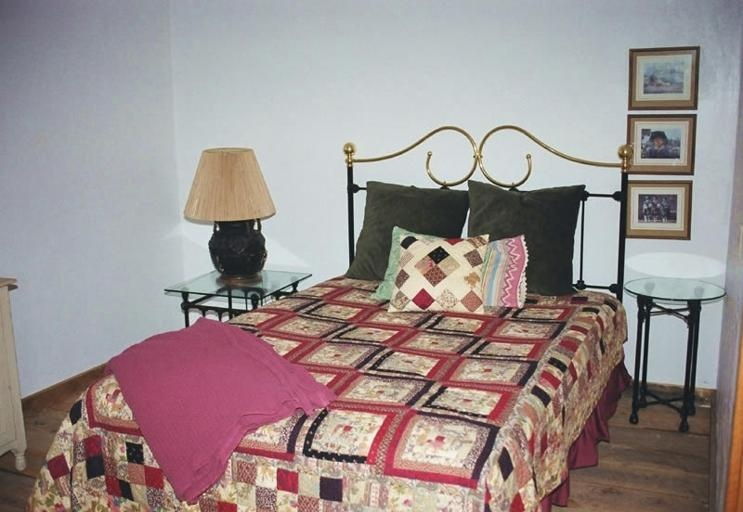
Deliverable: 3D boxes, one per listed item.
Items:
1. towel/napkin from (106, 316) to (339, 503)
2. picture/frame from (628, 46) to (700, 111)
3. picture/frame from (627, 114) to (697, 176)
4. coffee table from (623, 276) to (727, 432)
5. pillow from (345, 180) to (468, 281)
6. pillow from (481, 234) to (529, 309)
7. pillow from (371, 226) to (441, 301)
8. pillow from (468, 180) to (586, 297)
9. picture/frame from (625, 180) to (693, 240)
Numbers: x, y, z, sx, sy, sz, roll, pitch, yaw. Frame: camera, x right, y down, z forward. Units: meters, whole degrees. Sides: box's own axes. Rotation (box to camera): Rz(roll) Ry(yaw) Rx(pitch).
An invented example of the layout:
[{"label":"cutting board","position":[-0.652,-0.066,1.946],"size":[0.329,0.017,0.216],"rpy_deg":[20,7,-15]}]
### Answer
[{"label":"towel/napkin","position":[-0.580,0.557,2.481],"size":[0.703,0.218,0.689],"rpy_deg":[-22,44,-27]},{"label":"picture/frame","position":[1.686,-1.020,3.534],"size":[0.360,0.342,0.028],"rpy_deg":[4,14,17]},{"label":"picture/frame","position":[1.694,-0.650,3.584],"size":[0.341,0.335,0.024],"rpy_deg":[4,10,16]},{"label":"coffee table","position":[1.708,0.539,3.536],"size":[0.497,0.788,0.541],"rpy_deg":[5,10,31]},{"label":"pillow","position":[0.192,-0.122,3.699],"size":[0.636,0.600,0.197],"rpy_deg":[3,-11,37]},{"label":"pillow","position":[0.721,0.087,3.353],"size":[0.353,0.327,0.105],"rpy_deg":[-11,-24,30]},{"label":"pillow","position":[0.157,0.057,3.493],"size":[0.122,0.394,0.404],"rpy_deg":[16,-7,-22]},{"label":"pillow","position":[0.859,-0.085,3.472],"size":[0.655,0.624,0.231],"rpy_deg":[0,-9,16]},{"label":"picture/frame","position":[1.706,-0.274,3.641],"size":[0.333,0.338,0.025],"rpy_deg":[3,10,24]}]
